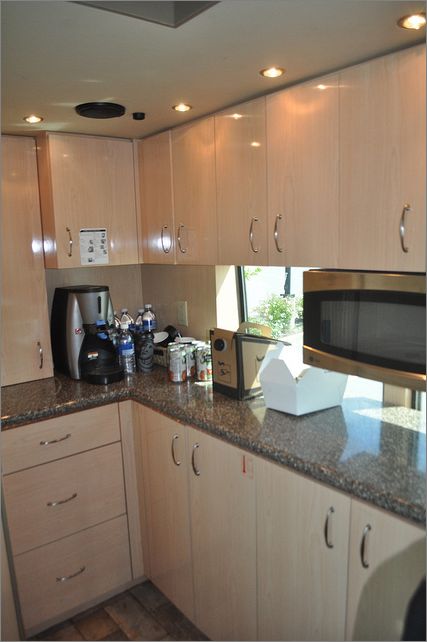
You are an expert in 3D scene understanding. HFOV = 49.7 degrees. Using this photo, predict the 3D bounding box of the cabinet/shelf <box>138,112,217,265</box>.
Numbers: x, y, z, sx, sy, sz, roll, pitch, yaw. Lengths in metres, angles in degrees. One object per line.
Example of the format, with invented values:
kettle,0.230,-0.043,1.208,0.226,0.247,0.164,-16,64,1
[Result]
cabinet/shelf,-0.133,-0.512,2.150,0.501,0.514,0.183,0,1,33

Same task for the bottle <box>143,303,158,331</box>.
bottle,-0.344,-0.015,2.445,0.053,0.146,0.087,-2,9,20

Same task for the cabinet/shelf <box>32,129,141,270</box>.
cabinet/shelf,-0.620,-0.600,2.196,0.456,0.783,0.228,-8,14,-29

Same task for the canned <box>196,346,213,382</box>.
canned,-0.056,0.193,2.083,0.108,0.159,0.050,2,11,41

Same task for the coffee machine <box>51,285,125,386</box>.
coffee machine,-0.620,0.051,2.284,0.404,0.457,0.250,9,14,39
